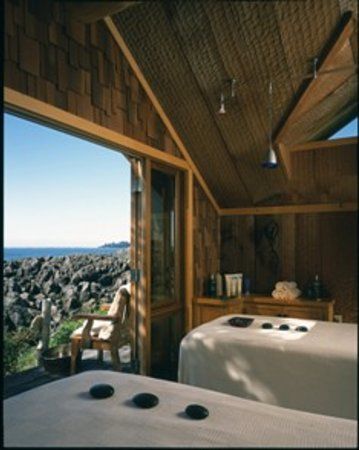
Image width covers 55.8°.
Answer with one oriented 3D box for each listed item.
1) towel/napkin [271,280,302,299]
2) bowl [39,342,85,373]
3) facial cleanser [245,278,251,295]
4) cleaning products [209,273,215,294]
[{"bbox_3d":[1.188,0.699,3.777,0.189,0.128,0.237,-3,-1,32],"label":"towel/napkin"},{"bbox_3d":[-1.004,1.085,2.801,0.234,0.112,0.292,0,-4,20],"label":"bowl"},{"bbox_3d":[0.814,0.735,4.097,0.079,0.195,0.288,-2,-7,10],"label":"facial cleanser"},{"bbox_3d":[0.373,0.687,3.886,0.074,0.228,0.195,0,-7,2],"label":"cleaning products"}]
